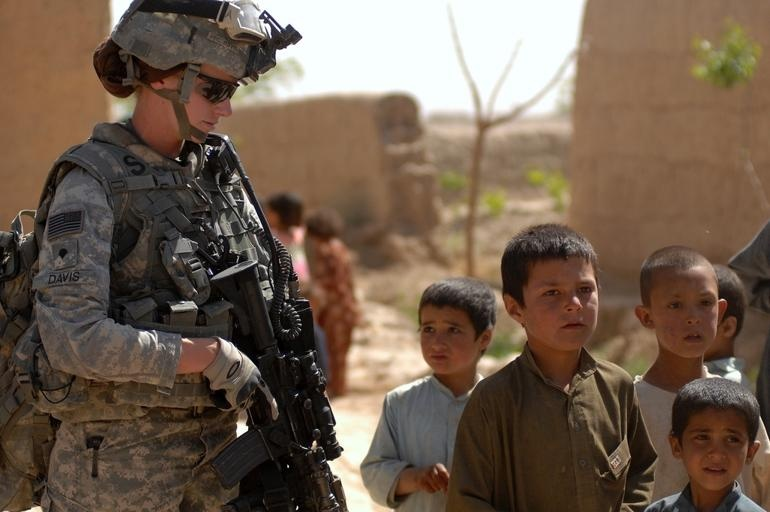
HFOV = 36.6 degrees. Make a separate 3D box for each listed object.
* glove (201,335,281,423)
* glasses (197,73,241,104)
[{"bbox_3d":[-0.704,0.573,5.660,0.399,0.181,0.254,46,-47,-4],"label":"glove"},{"bbox_3d":[-0.828,-0.823,5.770,0.137,0.075,0.171,17,7,-44],"label":"glasses"}]
